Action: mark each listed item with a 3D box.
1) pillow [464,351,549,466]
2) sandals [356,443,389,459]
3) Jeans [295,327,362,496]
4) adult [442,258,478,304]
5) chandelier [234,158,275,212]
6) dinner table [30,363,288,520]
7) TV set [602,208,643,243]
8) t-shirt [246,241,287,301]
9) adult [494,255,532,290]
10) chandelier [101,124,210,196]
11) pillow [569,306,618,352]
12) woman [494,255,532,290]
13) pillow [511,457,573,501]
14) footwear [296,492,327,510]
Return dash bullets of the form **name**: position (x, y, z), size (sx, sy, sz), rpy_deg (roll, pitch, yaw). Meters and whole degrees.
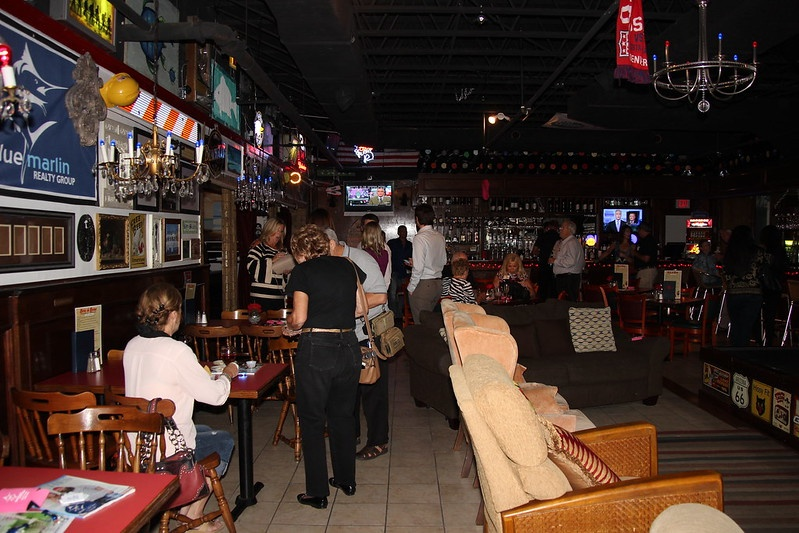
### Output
- **pillow**: position (0.670, 0.984, 3.782), size (0.366, 0.585, 0.618), rpy_deg (-4, 10, -20)
- **sandals**: position (-0.279, 1.894, 5.859), size (0.256, 0.101, 0.128), rpy_deg (6, -8, -34)
- **Jeans**: position (-0.601, 1.299, 5.030), size (0.588, 1.506, 0.331), rpy_deg (-4, 11, -16)
- **adult**: position (0.742, 0.199, 7.110), size (0.398, 0.558, 0.745), rpy_deg (0, 10, 4)
- **chandelier**: position (-2.658, -1.547, 10.414), size (0.622, 0.860, 2.105), rpy_deg (-3, 10, -13)
- **dinner table**: position (-1.976, 1.852, 5.083), size (2.184, 1.374, 1.197), rpy_deg (0, 4, -1)
- **TV set**: position (5.491, -0.984, 14.126), size (1.064, 0.740, 0.110), rpy_deg (1, -9, -1)
- **t-shirt**: position (-1.674, 0.078, 7.195), size (0.423, 0.776, 0.347), rpy_deg (-3, 10, -13)
- **adult**: position (1.902, 0.120, 9.536), size (0.604, 0.526, 0.362), rpy_deg (-4, 32, -1)
- **chandelier**: position (-2.553, -0.998, 5.914), size (1.003, 0.626, 1.000), rpy_deg (4, 4, 5)
- **pillow**: position (2.413, 0.803, 7.180), size (0.570, 0.538, 0.171), rpy_deg (1, -8, -4)
- **woman**: position (1.902, 0.120, 9.536), size (0.604, 0.526, 0.362), rpy_deg (-4, 32, -1)
- **pillow**: position (0.988, 1.419, 3.796), size (0.443, 0.242, 0.183), rpy_deg (-5, 11, -26)
- **footwear**: position (-0.773, 2.048, 5.048), size (0.272, 0.114, 0.105), rpy_deg (13, 19, 15)
